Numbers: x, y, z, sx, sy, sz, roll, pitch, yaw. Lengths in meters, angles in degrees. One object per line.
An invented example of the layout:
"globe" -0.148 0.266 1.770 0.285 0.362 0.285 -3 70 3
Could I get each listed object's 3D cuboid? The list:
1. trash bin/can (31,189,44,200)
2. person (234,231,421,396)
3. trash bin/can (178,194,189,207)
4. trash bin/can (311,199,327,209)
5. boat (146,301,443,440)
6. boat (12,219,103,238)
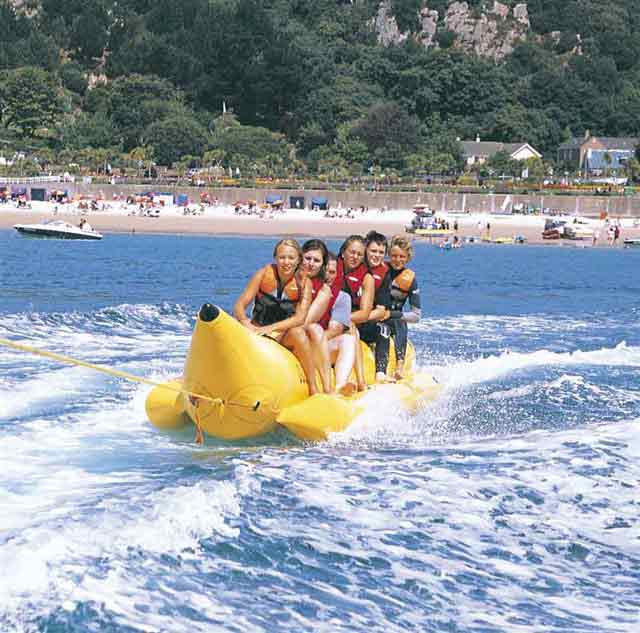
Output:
"trash bin/can" -19.451 -8.314 68.433 0.975 0.723 0.462 2 -8 -8
"person" -0.114 -0.051 7.032 0.832 1.286 1.166 -8 13 -42
"trash bin/can" -9.492 -7.967 68.702 0.794 0.679 2.195 2 7 -7
"trash bin/can" -0.099 -7.424 66.224 1.033 0.685 1.118 3 7 -1
"boat" -0.255 0.411 7.108 0.984 0.522 1.655 -4 -5 28
"boat" -10.331 -3.331 39.534 2.847 0.616 1.820 3 7 -1
